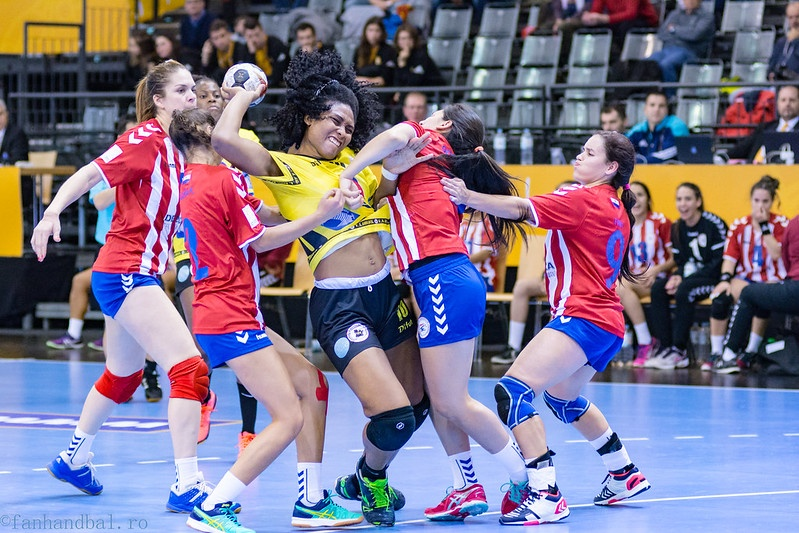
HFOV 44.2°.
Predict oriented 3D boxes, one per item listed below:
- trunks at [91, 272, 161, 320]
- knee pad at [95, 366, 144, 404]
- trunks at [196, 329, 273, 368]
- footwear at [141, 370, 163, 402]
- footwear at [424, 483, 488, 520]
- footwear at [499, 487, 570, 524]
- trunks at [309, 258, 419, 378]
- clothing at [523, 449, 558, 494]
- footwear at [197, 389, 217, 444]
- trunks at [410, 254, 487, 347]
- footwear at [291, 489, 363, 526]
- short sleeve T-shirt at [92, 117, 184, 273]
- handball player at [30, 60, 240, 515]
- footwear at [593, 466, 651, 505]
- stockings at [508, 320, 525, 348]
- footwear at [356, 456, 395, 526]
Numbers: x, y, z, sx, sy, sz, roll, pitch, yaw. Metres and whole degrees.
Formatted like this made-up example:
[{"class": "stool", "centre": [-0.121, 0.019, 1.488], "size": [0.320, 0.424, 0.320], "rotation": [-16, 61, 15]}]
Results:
[{"class": "trunks", "centre": [-2.028, 0.156, 7.203], "size": [0.437, 0.339, 0.325], "rotation": [2, -6, -2]}, {"class": "knee pad", "centre": [-2.106, 0.907, 7.436], "size": [0.347, 0.250, 0.200], "rotation": [17, 8, 17]}, {"class": "trunks", "centre": [-1.126, 0.560, 6.727], "size": [0.518, 0.280, 0.191], "rotation": [2, 6, 17]}, {"class": "footwear", "centre": [-2.552, 1.257, 10.212], "size": [0.131, 0.201, 0.412], "rotation": [-2, 6, -17]}, {"class": "footwear", "centre": [0.437, 1.715, 7.071], "size": [0.480, 0.263, 0.204], "rotation": [-14, -32, 10]}, {"class": "footwear", "centre": [0.974, 1.694, 7.025], "size": [0.555, 0.301, 0.194], "rotation": [0, -6, -15]}, {"class": "trunks", "centre": [-0.296, 0.334, 7.054], "size": [0.598, 0.676, 0.869], "rotation": [-3, 14, 35]}, {"class": "clothing", "centre": [0.989, 1.466, 7.034], "size": [0.237, 0.253, 0.211], "rotation": [-1, -8, -5]}, {"class": "footwear", "centre": [-1.718, 1.341, 8.813], "size": [0.202, 0.656, 0.247], "rotation": [1, -5, -6]}, {"class": "trunks", "centre": [0.379, 0.221, 7.172], "size": [0.571, 0.648, 0.830], "rotation": [-9, 2, 14]}, {"class": "footwear", "centre": [-0.513, 1.683, 6.862], "size": [0.531, 0.309, 0.202], "rotation": [2, -9, -8]}, {"class": "short sleeve T-shirt", "centre": [-1.921, -0.481, 7.424], "size": [0.492, 1.247, 0.970], "rotation": [4, -9, 14]}, {"class": "handball player", "centre": [-1.864, 0.118, 7.287], "size": [1.261, 3.317, 1.312], "rotation": [1, -3, 8]}, {"class": "footwear", "centre": [1.605, 1.640, 7.358], "size": [0.493, 0.261, 0.174], "rotation": [-31, -22, 32]}, {"class": "stockings", "centre": [1.445, 0.831, 12.167], "size": [0.262, 0.453, 0.280], "rotation": [2, -10, 9]}, {"class": "footwear", "centre": [-0.186, 1.610, 6.976], "size": [0.163, 0.524, 0.205], "rotation": [-5, -30, -17]}]
